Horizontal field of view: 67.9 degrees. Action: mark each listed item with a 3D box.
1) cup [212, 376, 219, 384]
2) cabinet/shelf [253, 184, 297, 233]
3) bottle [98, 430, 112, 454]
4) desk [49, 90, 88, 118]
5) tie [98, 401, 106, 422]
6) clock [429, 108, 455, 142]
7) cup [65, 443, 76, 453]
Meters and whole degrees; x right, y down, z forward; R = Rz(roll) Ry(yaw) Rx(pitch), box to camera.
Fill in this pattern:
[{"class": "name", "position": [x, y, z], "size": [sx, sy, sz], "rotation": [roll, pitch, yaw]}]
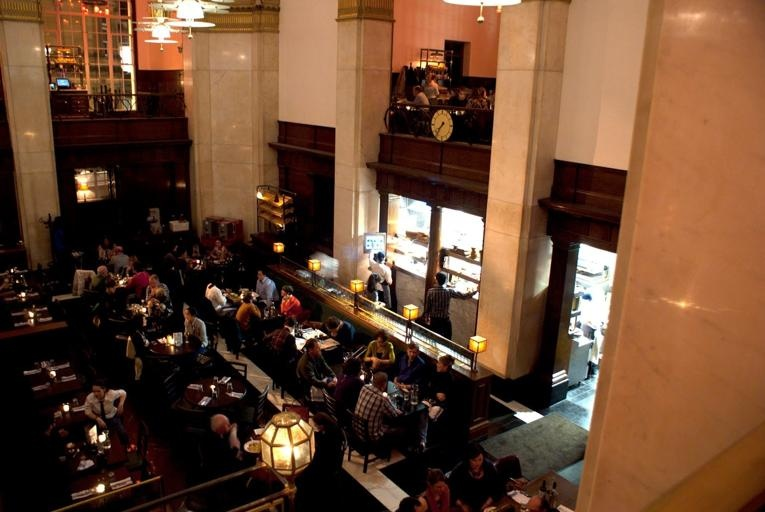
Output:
[{"class": "cup", "position": [-2.542, 1.880, 8.623], "size": [0.068, 0.096, 0.069], "rotation": [3, -3, 0]}, {"class": "cabinet/shelf", "position": [-2.780, -1.150, 14.880], "size": [0.447, 1.280, 1.291], "rotation": [-11, 21, -36]}, {"class": "bottle", "position": [-3.494, 2.310, 7.019], "size": [0.167, 0.236, 0.241], "rotation": [3, -1, -16]}, {"class": "desk", "position": [-7.994, -3.880, 14.507], "size": [0.957, 0.648, 0.597], "rotation": [-15, 25, -33]}, {"class": "tie", "position": [-3.690, 2.043, 7.467], "size": [0.085, 0.231, 0.141], "rotation": [-12, 24, -27]}, {"class": "clock", "position": [1.107, -2.393, 10.481], "size": [0.563, 0.574, 0.031], "rotation": [-8, 15, -36]}, {"class": "cup", "position": [-3.821, 2.335, 6.975], "size": [0.107, 0.108, 0.110], "rotation": [4, 8, -1]}]
